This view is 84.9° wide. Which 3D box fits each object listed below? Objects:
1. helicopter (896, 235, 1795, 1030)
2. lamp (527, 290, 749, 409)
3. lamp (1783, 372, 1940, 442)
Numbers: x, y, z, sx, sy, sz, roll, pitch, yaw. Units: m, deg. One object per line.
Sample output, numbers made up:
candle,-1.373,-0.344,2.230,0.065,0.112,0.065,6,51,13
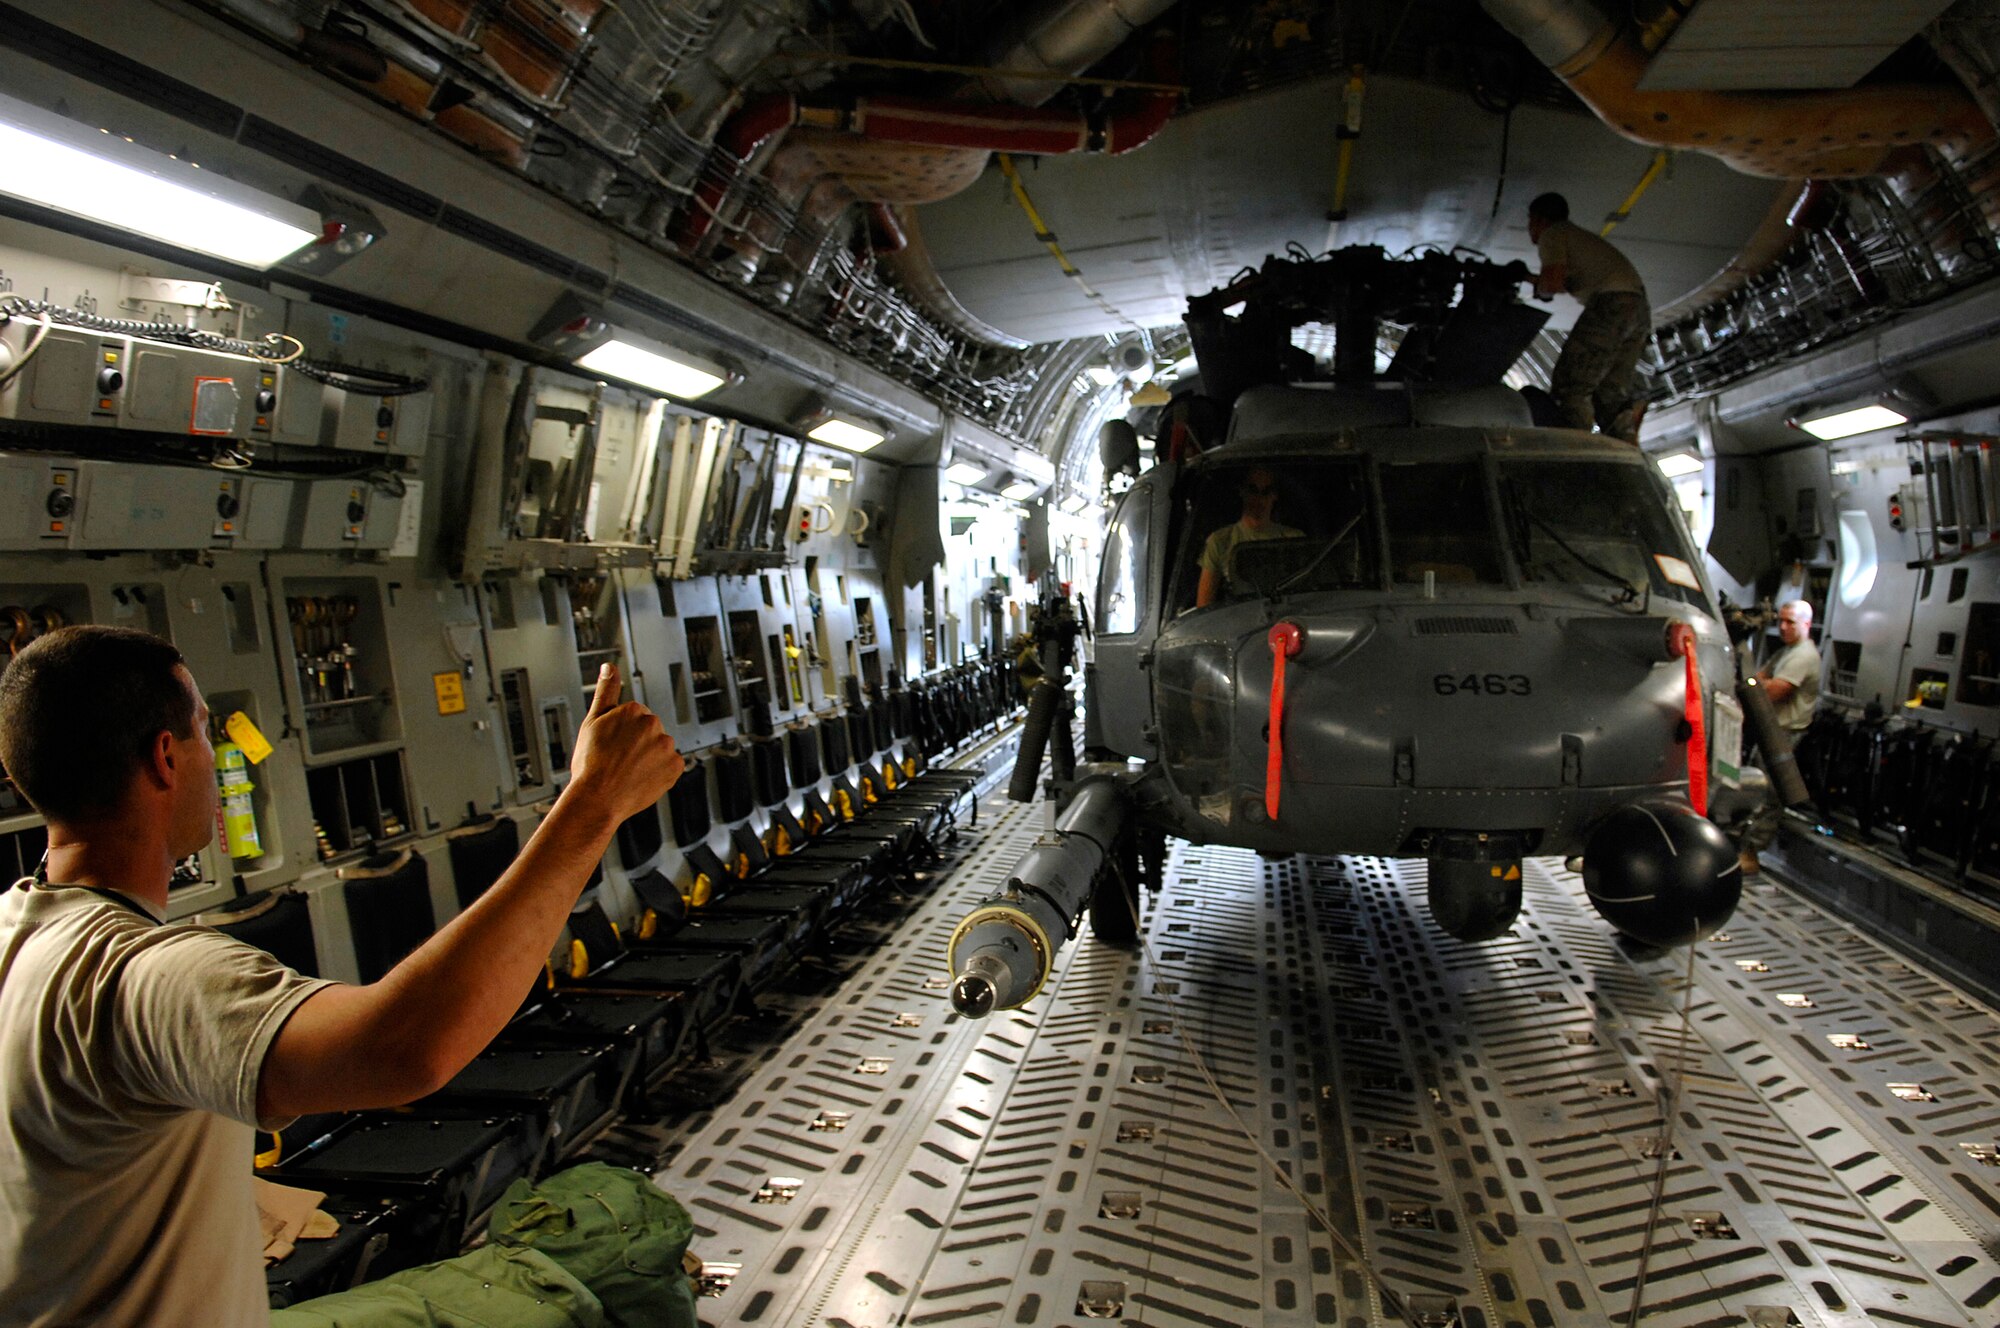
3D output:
helicopter,2.065,-0.092,6.027,3.826,3.326,2.498,-1,2,4
lamp,-2.357,-2.008,6.915,0.537,0.302,1.256,0,2,25
lamp,6.851,-2.071,8.646,0.613,0.170,0.759,4,-9,-3
